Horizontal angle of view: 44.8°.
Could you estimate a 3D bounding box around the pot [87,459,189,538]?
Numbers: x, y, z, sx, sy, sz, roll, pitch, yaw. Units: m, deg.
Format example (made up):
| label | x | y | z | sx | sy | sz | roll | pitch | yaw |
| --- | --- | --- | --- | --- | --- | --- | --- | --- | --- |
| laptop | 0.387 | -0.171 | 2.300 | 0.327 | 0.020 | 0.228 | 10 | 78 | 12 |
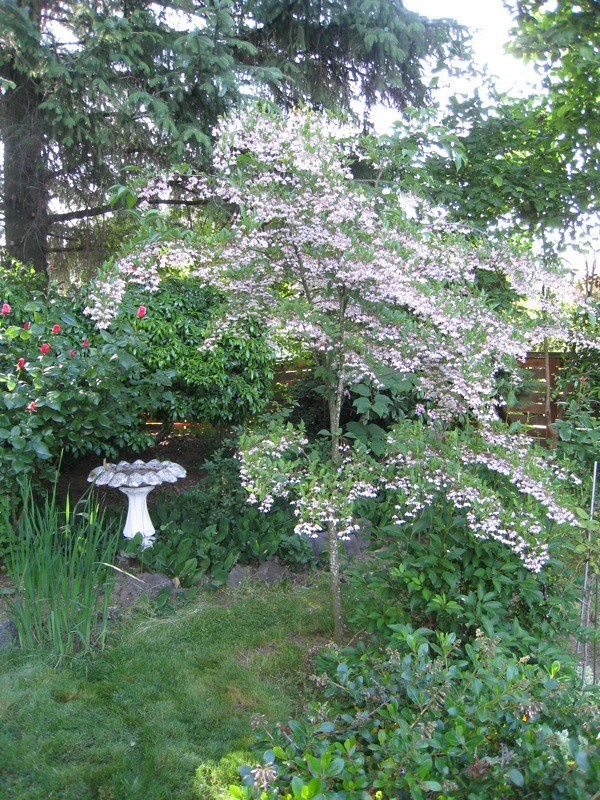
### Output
| label | x | y | z | sx | sy | sz | roll | pitch | yaw |
| --- | --- | --- | --- | --- | --- | --- | --- | --- | --- |
| pot | -1.212 | 0.696 | 5.504 | 0.703 | 0.520 | 0.664 | 1 | 12 | 0 |
